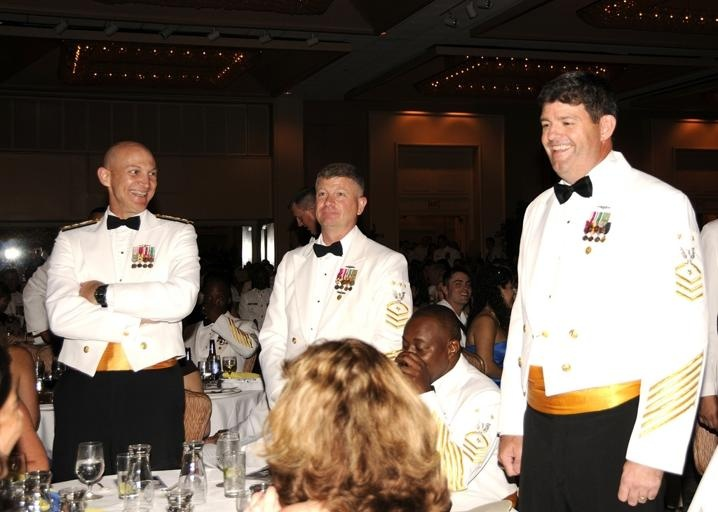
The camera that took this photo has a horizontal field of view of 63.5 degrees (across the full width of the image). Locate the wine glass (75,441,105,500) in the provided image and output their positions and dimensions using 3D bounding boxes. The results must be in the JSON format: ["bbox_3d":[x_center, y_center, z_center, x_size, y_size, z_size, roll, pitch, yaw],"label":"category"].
[{"bbox_3d":[-1.150,0.926,2.506,0.125,0.218,0.124,3,-9,-23],"label":"wine glass"}]

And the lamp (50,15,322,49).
[{"bbox_3d":[-2.644,-3.520,9.183,4.545,0.269,0.684,-1,-1,-13],"label":"lamp"}]

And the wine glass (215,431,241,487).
[{"bbox_3d":[-0.604,0.946,2.707,0.122,0.223,0.113,2,-2,-7],"label":"wine glass"}]

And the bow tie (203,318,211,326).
[{"bbox_3d":[-1.578,0.693,6.072,0.081,0.063,0.082,-1,6,3],"label":"bow tie"}]

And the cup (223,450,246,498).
[{"bbox_3d":[-0.547,0.971,2.594,0.113,0.187,0.113,-4,-15,-1],"label":"cup"}]

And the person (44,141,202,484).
[{"bbox_3d":[-1.358,0.611,3.351,0.777,2.407,0.661,1,3,-4],"label":"person"}]
